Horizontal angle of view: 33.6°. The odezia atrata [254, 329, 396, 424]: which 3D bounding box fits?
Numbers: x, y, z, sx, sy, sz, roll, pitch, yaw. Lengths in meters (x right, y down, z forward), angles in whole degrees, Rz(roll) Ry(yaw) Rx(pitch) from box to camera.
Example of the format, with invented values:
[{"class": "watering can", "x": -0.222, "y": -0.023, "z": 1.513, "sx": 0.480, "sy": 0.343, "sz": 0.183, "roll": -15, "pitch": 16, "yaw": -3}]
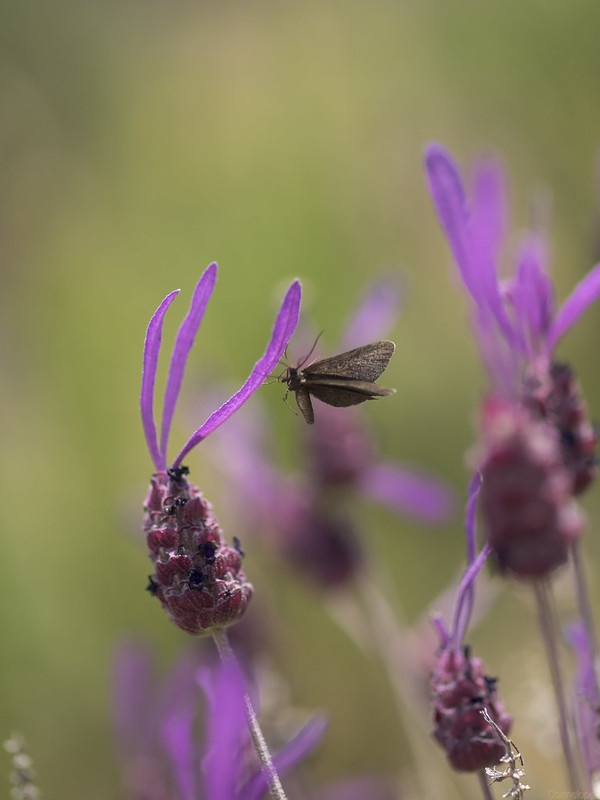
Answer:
[{"class": "odezia atrata", "x": 0.024, "y": -0.015, "z": 0.805, "sx": 0.099, "sy": 0.050, "sz": 0.103, "roll": 15, "pitch": -15, "yaw": -12}]
